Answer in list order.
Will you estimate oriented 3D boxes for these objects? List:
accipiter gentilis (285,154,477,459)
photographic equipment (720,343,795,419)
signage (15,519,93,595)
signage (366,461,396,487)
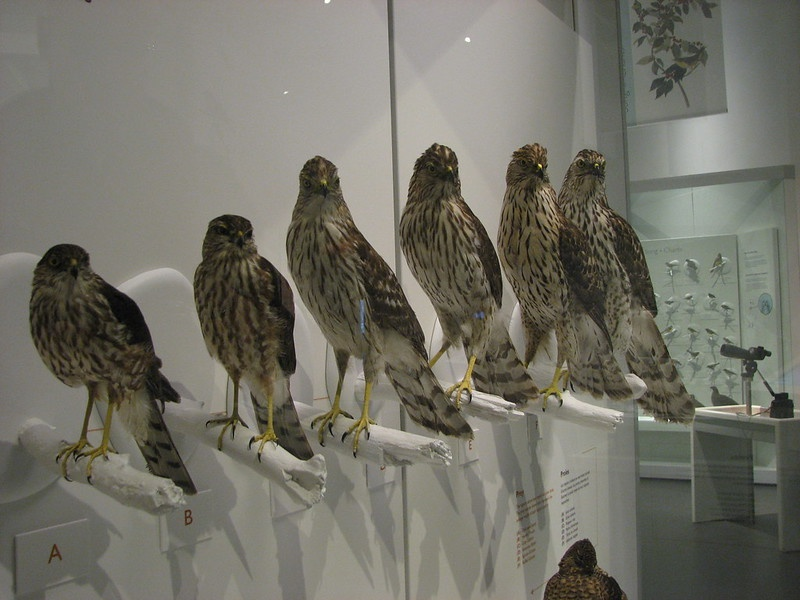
[{"bbox_3d":[-0.055,0.009,2.210,0.397,0.663,0.108,-6,0,-29],"label":"accipiter gentilis"},{"bbox_3d":[1.158,0.263,3.066,0.206,0.255,0.057,-7,-1,22],"label":"photographic equipment"},{"bbox_3d":[-0.725,0.524,1.956,0.133,0.142,0.019,-2,0,-34],"label":"signage"},{"bbox_3d":[-0.042,0.414,2.369,0.080,0.089,0.019,4,-1,-42],"label":"signage"}]
